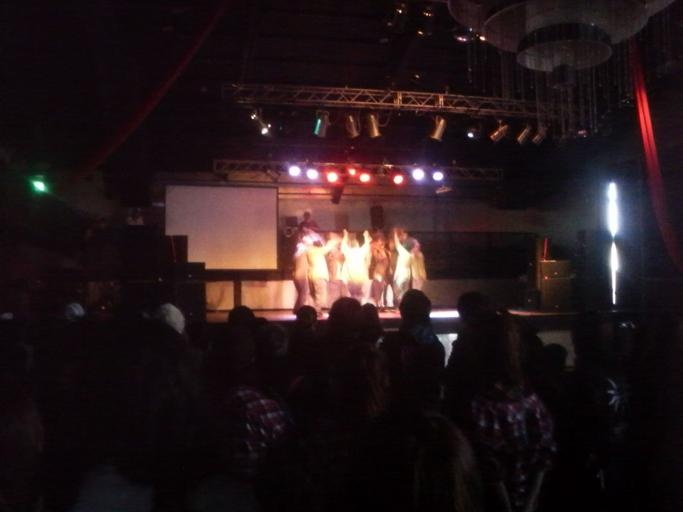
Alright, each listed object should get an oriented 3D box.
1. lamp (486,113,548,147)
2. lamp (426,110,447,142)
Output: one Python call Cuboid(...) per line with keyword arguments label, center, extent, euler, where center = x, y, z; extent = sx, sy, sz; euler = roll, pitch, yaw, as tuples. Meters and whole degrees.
Cuboid(label="lamp", center=(2.196, -1.519, 8.060), extent=(0.668, 0.241, 0.691), euler=(1, -3, 23))
Cuboid(label="lamp", center=(1.187, -1.577, 7.982), extent=(0.180, 0.238, 0.359), euler=(2, -3, 5))
